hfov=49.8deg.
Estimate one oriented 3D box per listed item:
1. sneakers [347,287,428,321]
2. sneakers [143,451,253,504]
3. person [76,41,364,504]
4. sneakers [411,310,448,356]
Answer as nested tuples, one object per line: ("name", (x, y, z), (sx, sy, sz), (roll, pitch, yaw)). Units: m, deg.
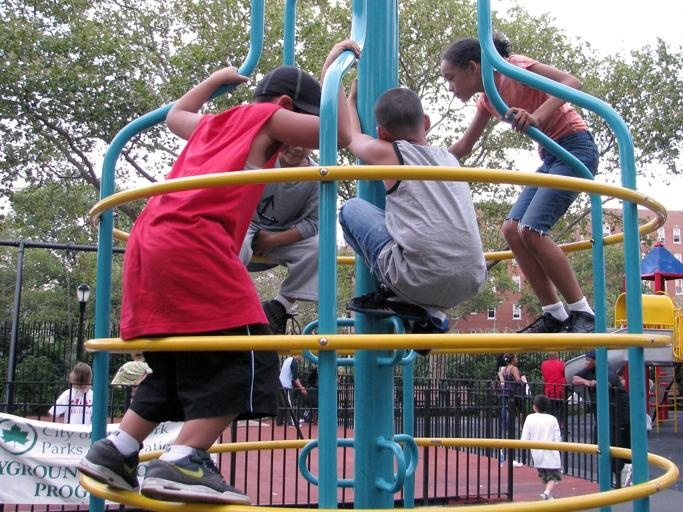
("sneakers", (0.199, 0.243, 3.614), (0.310, 0.131, 0.175), (16, -25, 8))
("sneakers", (-0.657, 1.010, 3.259), (0.532, 0.248, 0.203), (12, -24, -18))
("person", (-0.605, 0.034, 3.534), (1.097, 2.185, 0.475), (-1, -11, 16))
("sneakers", (0.441, 0.375, 3.651), (0.250, 0.250, 0.156), (2, -10, 2))
